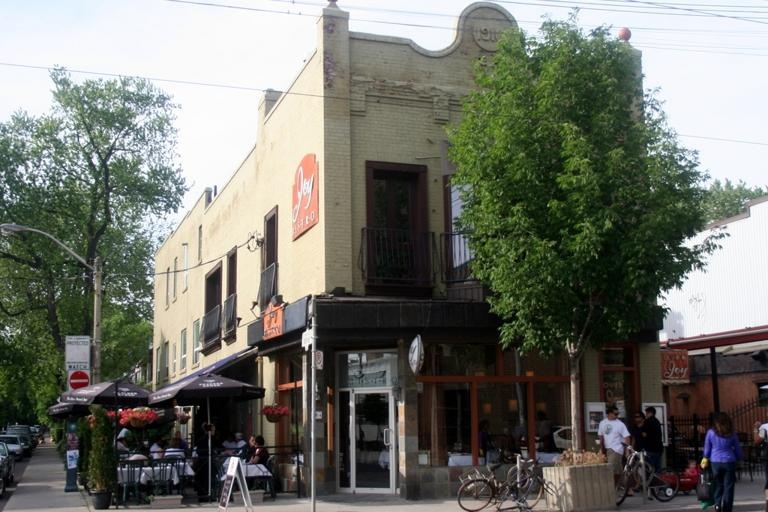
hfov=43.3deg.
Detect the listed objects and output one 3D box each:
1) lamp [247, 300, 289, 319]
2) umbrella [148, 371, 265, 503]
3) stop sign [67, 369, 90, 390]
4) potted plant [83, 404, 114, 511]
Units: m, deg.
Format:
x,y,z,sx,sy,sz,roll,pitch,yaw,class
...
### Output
x,y,z,sx,sy,sz,roll,pitch,yaw,class
-4.404,2.141,36.750,1.332,0.371,0.822,-3,-2,-37,lamp
-6.253,6.296,34.707,3.439,4.676,4.115,1,-5,15,umbrella
-11.629,4.690,36.953,0.674,0.777,0.121,1,-15,-14,stop sign
-9.298,6.611,32.032,0.839,3.375,0.407,-3,-10,7,potted plant
